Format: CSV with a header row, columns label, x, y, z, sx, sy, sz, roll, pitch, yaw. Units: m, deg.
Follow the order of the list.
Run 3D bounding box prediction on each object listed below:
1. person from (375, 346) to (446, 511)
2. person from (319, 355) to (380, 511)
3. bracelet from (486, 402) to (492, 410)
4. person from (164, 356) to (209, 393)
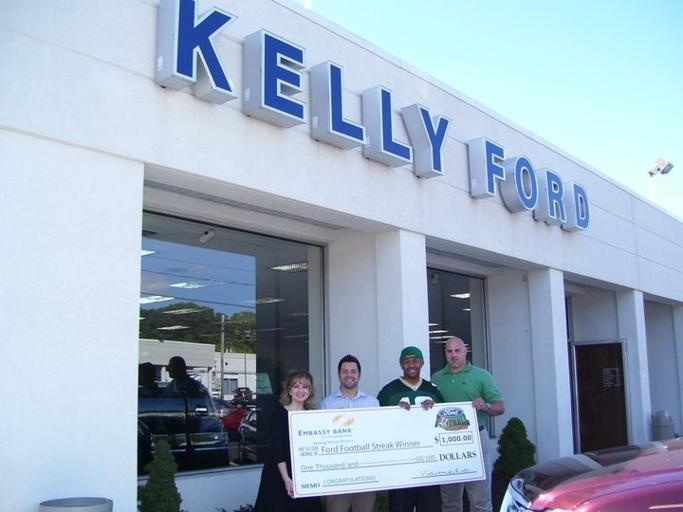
label,x,y,z,sx,sy,sz,roll,pitch,yaw
person,0.767,1.885,6.396,0.728,1.749,0.675,-2,-13,3
person,0.110,1.886,6.269,0.624,1.638,0.624,-9,-16,29
bracelet,1.683,1.708,6.711,0.070,0.073,0.017,10,-41,-25
person,-2.081,1.585,7.606,0.343,0.574,0.716,-1,-6,26
